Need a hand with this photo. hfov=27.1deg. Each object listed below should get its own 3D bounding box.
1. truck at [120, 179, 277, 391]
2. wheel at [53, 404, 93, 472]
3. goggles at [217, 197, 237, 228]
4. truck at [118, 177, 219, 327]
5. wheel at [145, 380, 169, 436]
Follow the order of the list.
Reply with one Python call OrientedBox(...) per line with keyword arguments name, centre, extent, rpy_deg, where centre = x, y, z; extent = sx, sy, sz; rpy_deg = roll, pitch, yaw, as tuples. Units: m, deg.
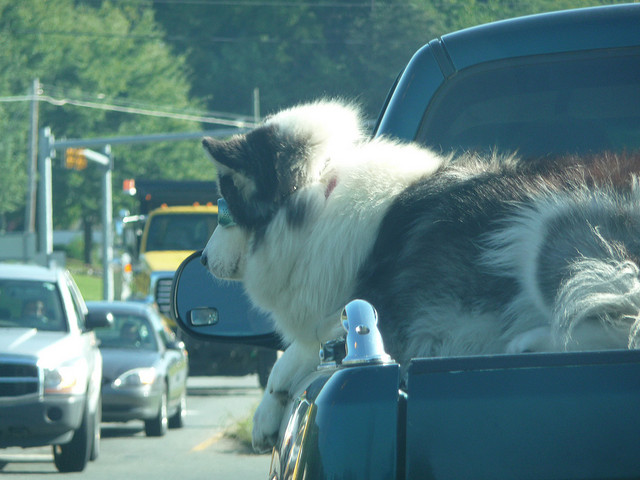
OrientedBox(name="truck", centre=(-2.689, 0.379, 24.511), extent=(2.082, 2.999, 4.487), rpy_deg=(5, 6, -14))
OrientedBox(name="wheel", centre=(-2.432, 1.902, 12.988), extent=(0.184, 0.692, 0.628), rpy_deg=(2, 7, 5))
OrientedBox(name="goggles", centre=(-0.446, -0.114, 6.155), extent=(0.110, 0.135, 0.090), rpy_deg=(1, 7, 7))
OrientedBox(name="truck", centre=(-2.614, 0.109, 24.153), extent=(1.931, 2.781, 4.688), rpy_deg=(0, 5, -8))
OrientedBox(name="wheel", centre=(-2.028, 2.038, 16.312), extent=(0.188, 0.705, 0.639), rpy_deg=(-2, -5, 1))
